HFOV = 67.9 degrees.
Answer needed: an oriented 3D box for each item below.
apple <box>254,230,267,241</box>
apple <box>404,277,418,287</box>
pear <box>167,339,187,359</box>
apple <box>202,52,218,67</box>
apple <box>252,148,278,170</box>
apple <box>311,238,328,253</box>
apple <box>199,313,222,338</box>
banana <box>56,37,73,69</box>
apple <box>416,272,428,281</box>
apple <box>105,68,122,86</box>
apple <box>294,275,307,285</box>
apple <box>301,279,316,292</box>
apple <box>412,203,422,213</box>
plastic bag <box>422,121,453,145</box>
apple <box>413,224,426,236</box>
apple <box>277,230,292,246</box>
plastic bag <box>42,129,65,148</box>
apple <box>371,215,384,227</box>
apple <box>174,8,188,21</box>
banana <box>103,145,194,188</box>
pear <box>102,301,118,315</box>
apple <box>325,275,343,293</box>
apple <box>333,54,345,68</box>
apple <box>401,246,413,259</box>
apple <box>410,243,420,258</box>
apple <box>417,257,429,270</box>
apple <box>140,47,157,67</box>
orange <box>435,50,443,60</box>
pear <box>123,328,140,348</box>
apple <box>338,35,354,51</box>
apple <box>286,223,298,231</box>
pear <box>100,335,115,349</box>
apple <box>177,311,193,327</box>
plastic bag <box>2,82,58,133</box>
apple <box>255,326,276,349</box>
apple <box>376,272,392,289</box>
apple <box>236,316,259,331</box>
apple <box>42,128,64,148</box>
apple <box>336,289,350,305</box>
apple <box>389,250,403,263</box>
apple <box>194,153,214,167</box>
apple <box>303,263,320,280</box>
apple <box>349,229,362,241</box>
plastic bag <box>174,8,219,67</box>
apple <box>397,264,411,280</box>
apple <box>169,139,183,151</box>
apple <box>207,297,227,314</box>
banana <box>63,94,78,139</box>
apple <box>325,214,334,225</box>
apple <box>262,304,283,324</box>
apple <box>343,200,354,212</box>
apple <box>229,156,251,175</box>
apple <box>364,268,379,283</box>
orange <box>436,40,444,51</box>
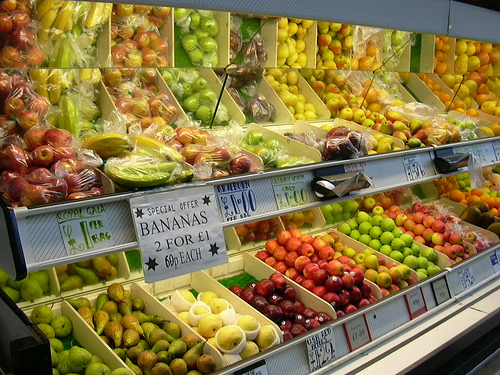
[{"bbox_3d":[0.082,0.347,2.688,0.078,0.049,0.065,-20,-31,34],"label":"apple"},{"bbox_3d":[1.033,0.603,2.377,0.063,0.057,0.054,-20,-15,-40],"label":"apple"},{"bbox_3d":[-0.333,0.745,1.713,0.053,0.057,0.079,-4,50,33],"label":"pear"},{"bbox_3d":[-0.233,-0.754,2.194,0.068,0.088,0.046,-31,11,-27],"label":"apple"},{"bbox_3d":[0.103,-0.166,2.177,0.101,0.084,0.137,3,0,27],"label":"apple"},{"bbox_3d":[0.480,0.382,2.510,0.083,0.087,0.082,39,9,26],"label":"apple"},{"bbox_3d":[-0.193,0.685,1.902,0.102,0.101,0.120,31,-25,2],"label":"apple"},{"bbox_3d":[-1.058,-0.768,2.101,0.100,0.159,0.056,-11,15,-20],"label":"banana"},{"bbox_3d":[1.152,0.591,2.483,0.040,0.044,0.044,-4,8,2],"label":"apple"},{"bbox_3d":[-0.837,-0.680,2.278,0.095,0.128,0.099,-5,1,-30],"label":"apple"},{"bbox_3d":[0.316,0.564,2.290,0.047,0.061,0.047,34,-4,-21],"label":"apple"},{"bbox_3d":[0.359,0.586,2.224,0.046,0.057,0.054,-8,13,32],"label":"apple"},{"bbox_3d":[1.388,0.163,3.078,0.069,0.071,0.069,32,-45,-26],"label":"apple"},{"bbox_3d":[1.459,-0.441,2.924,0.132,0.089,0.210,-5,35,-41],"label":"plastic bag"},{"bbox_3d":[1.307,0.325,2.865,0.072,0.083,0.073,-13,21,-15],"label":"apple"},{"bbox_3d":[0.241,0.319,2.543,0.082,0.109,0.093,-6,43,-1],"label":"apple"},{"bbox_3d":[-0.866,-0.217,1.648,0.079,0.071,0.141,-19,21,-40],"label":"plastic bag"},{"bbox_3d":[0.957,0.247,2.799,0.069,0.093,0.074,18,-25,-1],"label":"apple"},{"bbox_3d":[-0.377,-0.960,2.063,0.083,0.065,0.058,-13,17,-25],"label":"apple"},{"bbox_3d":[-0.429,-0.077,1.468,0.231,0.096,0.197,6,32,18],"label":"banana"},{"bbox_3d":[-0.724,0.621,1.930,0.060,0.058,0.054,13,-15,4],"label":"pear"},{"bbox_3d":[0.497,0.560,2.165,0.099,0.083,0.067,-10,16,-16],"label":"apple"},{"bbox_3d":[0.840,-1.186,3.477,0.103,0.124,0.091,-1,16,17],"label":"apple"},{"bbox_3d":[1.103,0.450,2.599,0.073,0.066,0.061,20,-11,-23],"label":"apple"},{"bbox_3d":[1.186,0.445,2.648,0.065,0.071,0.088,8,53,-5],"label":"apple"},{"bbox_3d":[1.211,0.525,2.589,0.078,0.075,0.068,9,-1,-32],"label":"apple"},{"bbox_3d":[-0.573,-0.744,2.109,0.088,0.102,0.116,7,22,3],"label":"apple"},{"bbox_3d":[1.955,-1.366,3.833,0.067,0.087,0.069,-16,2,36],"label":"orange"},{"bbox_3d":[-0.563,0.712,1.762,0.049,0.054,0.072,-14,34,24],"label":"pear"},{"bbox_3d":[0.899,-1.334,3.441,0.110,0.145,0.110,-15,-20,35],"label":"apple"},{"bbox_3d":[0.316,0.288,2.788,0.069,0.080,0.044,0,7,-4],"label":"apple"},{"bbox_3d":[-0.676,0.730,1.779,0.026,0.056,0.056,-44,-10,-11],"label":"pear"},{"bbox_3d":[-0.342,0.689,1.947,0.056,0.065,0.058,8,-3,-20],"label":"apple"},{"bbox_3d":[-1.115,-0.401,1.883,0.223,0.250,0.092,1,-20,-35],"label":"plastic bag"},{"bbox_3d":[0.077,0.748,1.886,0.077,0.099,0.078,20,21,-45],"label":"apple"},{"bbox_3d":[0.856,0.587,2.349,0.105,0.094,0.054,-6,15,-1],"label":"apple"},{"bbox_3d":[-0.011,0.676,1.845,0.108,0.046,0.073,-7,16,-4],"label":"apple"},{"bbox_3d":[-0.861,-0.235,1.662,0.085,0.090,0.087,11,22,43],"label":"apple"},{"bbox_3d":[0.538,0.637,2.183,0.069,0.076,0.080,16,52,-18],"label":"apple"},{"bbox_3d":[1.013,0.468,2.570,0.062,0.071,0.079,-20,6,5],"label":"apple"},{"bbox_3d":[-0.216,-0.120,1.774,0.096,0.068,0.129,-8,16,-7],"label":"apple"},{"bbox_3d":[0.376,0.506,2.271,0.080,0.093,0.078,-4,-2,40],"label":"apple"},{"bbox_3d":[0.789,0.344,2.788,0.067,0.091,0.070,-13,11,-20],"label":"apple"},{"bbox_3d":[-0.294,-0.863,2.130,0.242,0.473,0.143,-6,9,-24],"label":"plastic bag"},{"bbox_3d":[1.014,0.540,2.463,0.081,0.095,0.086,8,10,12],"label":"apple"},{"bbox_3d":[-0.374,-0.224,1.924,0.049,0.037,0.062,6,11,-38],"label":"apple"},{"bbox_3d":[-0.171,0.631,2.004,0.066,0.044,0.070,16,3,-18],"label":"apple"},{"bbox_3d":[-0.955,-0.385,1.954,0.074,0.227,0.078,2,44,-19],"label":"banana"},{"bbox_3d":[0.632,0.250,2.926,0.056,0.077,0.061,-13,13,-3],"label":"apple"},{"bbox_3d":[0.126,0.672,2.049,0.094,0.104,0.091,24,18,36],"label":"apple"},{"bbox_3d":[0.798,0.151,3.019,0.078,0.105,0.085,12,4,-1],"label":"apple"},{"bbox_3d":[-0.044,-0.111,1.841,0.078,0.087,0.085,12,-27,15],"label":"apple"},{"bbox_3d":[0.788,0.566,2.404,0.085,0.062,0.089,0,17,18],"label":"apple"},{"bbox_3d":[1.921,-1.434,3.752,0.065,0.079,0.065,-35,14,-19],"label":"orange"}]
